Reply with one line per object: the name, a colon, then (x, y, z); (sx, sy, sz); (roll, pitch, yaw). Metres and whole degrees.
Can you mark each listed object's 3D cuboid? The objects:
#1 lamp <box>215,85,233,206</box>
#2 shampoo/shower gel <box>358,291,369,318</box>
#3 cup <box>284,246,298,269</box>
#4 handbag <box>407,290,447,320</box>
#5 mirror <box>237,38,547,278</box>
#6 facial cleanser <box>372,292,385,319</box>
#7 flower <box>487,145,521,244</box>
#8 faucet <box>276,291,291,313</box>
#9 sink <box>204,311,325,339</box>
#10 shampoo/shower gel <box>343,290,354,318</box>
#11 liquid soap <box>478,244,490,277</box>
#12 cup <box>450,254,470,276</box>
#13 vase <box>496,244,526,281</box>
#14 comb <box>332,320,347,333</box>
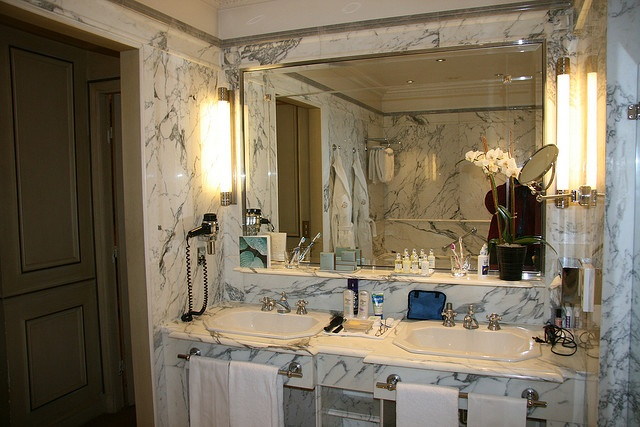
lamp: (-0.748, -0.536, 3.743); (0.130, 0.928, 0.112); (0, 1, -14)
shampoo/shower gel: (0.308, 0.648, 3.363); (0.067, 0.198, 0.067); (0, 1, 4)
cup: (-0.220, 0.354, 3.679); (0.096, 0.150, 0.153); (2, 0, -30)
handbag: (0.760, 0.648, 3.349); (0.229, 0.214, 0.054); (1, -1, 19)
mirror: (0.615, -0.436, 3.469); (1.817, 1.359, 0.036); (1, 6, 16)
facial cleanser: (0.418, 0.659, 3.384); (0.081, 0.195, 0.053); (0, 1, -6)
flower: (1.263, -0.168, 3.274); (0.238, 0.737, 0.121); (0, 1, 22)
faucet: (-0.280, 0.671, 3.606); (0.111, 0.138, 0.218); (0, 1, -5)
sink: (-0.403, 0.809, 3.367); (0.894, 0.137, 0.407); (0, 1, 15)
shampoo/shower gel: (0.209, 0.650, 3.412); (0.073, 0.197, 0.057); (0, 1, 4)
liquid soap: (1.160, 0.326, 3.332); (0.077, 0.218, 0.083); (0, 1, 18)
cup: (1.011, 0.377, 3.432); (0.135, 0.147, 0.128); (3, -2, 0)
vase: (1.314, 0.335, 3.231); (0.220, 0.249, 0.222); (1, -2, -2)
comb: (0.135, 0.786, 3.247); (0.076, 0.047, 0.148); (0, 1, 18)
